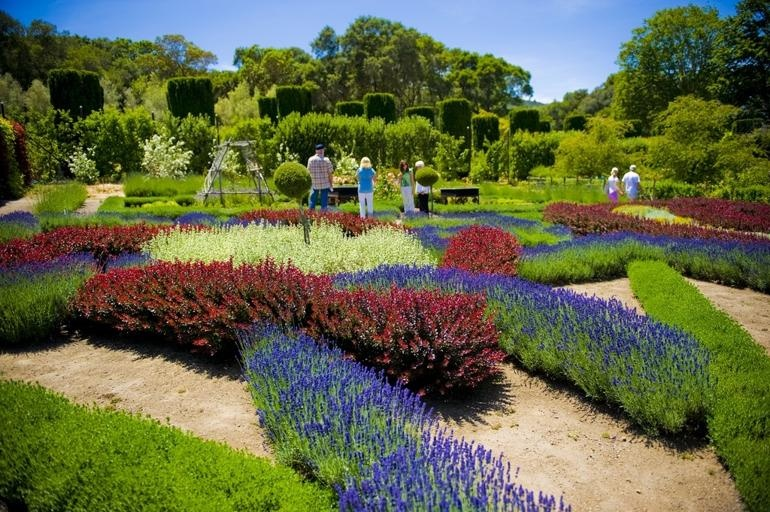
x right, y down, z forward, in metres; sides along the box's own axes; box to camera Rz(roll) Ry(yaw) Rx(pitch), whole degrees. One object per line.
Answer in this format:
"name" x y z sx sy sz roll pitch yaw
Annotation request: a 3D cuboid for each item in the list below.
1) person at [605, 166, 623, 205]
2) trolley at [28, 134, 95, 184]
"person" 7.392 -2.255 20.235 0.544 0.607 1.860 -6 -34 16
"trolley" -14.863 -4.364 28.394 2.406 2.092 2.620 11 3 -2
